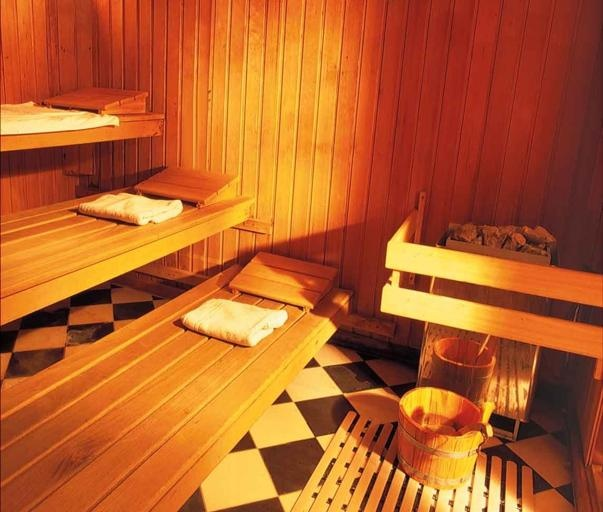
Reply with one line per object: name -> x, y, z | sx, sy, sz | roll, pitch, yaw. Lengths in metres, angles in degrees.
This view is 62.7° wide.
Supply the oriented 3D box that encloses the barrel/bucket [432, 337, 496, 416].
barrel/bucket -> 0.705, 0.540, 2.326 | 0.244, 0.281, 0.285 | -2, 18, -8
